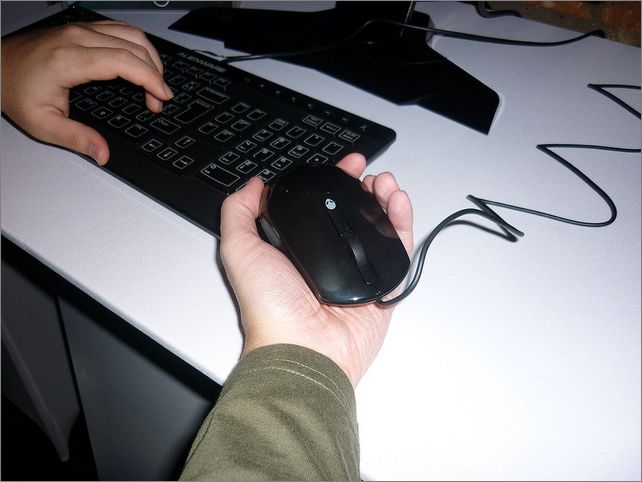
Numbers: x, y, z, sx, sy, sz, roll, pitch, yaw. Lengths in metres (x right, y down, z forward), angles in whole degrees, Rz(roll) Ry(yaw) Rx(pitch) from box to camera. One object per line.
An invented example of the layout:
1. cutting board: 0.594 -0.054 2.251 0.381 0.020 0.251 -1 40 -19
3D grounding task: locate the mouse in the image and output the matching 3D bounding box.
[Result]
1. mouse: 0.012 -0.005 0.565 0.116 0.047 0.182 -28 67 -24
